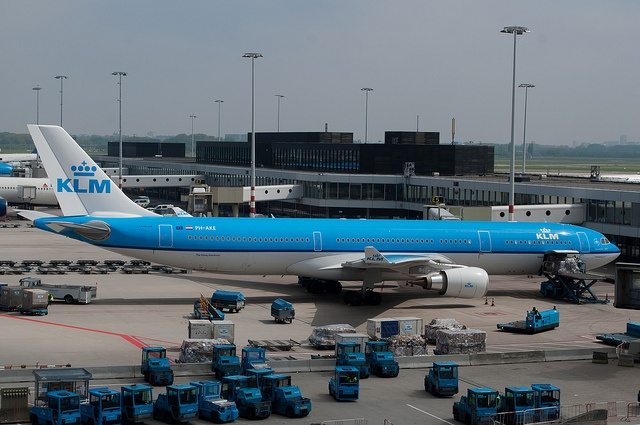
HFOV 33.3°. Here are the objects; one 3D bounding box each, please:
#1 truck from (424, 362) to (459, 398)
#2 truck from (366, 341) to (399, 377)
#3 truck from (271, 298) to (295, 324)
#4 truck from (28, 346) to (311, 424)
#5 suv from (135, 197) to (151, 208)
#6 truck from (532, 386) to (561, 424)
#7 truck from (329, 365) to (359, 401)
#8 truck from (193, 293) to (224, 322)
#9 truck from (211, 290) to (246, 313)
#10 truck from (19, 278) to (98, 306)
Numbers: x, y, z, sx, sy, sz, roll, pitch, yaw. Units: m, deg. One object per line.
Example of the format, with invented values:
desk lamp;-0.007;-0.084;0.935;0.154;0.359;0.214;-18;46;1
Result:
truck;6.921;9.483;61.576;1.702;1.369;2.207;1;-2;-14
truck;3.527;8.744;63.920;1.130;1.901;1.766;-2;1;-31
truck;-2.568;6.685;72.187;1.461;1.488;1.003;-1;0;-6
truck;-8.050;9.845;59.553;15.667;3.118;5.526;-1;1;-13
suv;-22.016;-1.263;132.608;3.053;1.158;1.593;3;4;-8
truck;12.264;10.386;58.364;1.259;1.673;1.455;-1;1;42
truck;1.401;9.652;59.913;1.559;1.243;2.128;1;-3;-8
truck;-7.429;6.547;72.300;1.174;1.082;2.916;1;7;-26
truck;-6.311;6.114;74.580;2.354;1.042;1.325;1;3;11
truck;-18.822;5.574;75.641;5.682;1.184;1.856;3;-1;12
